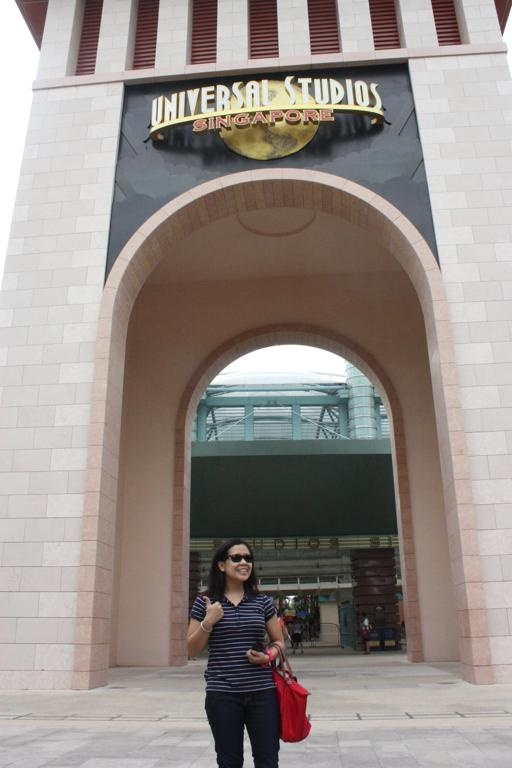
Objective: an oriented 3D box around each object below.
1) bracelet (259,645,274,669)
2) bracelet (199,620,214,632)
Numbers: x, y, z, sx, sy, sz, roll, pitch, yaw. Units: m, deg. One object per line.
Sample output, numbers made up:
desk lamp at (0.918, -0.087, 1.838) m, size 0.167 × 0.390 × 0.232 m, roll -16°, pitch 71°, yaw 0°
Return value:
bracelet at (0.041, 1.074, 2.315) m, size 0.034 × 0.092 × 0.068 m, roll -7°, pitch -5°, yaw 37°
bracelet at (-0.209, 0.963, 2.359) m, size 0.044 × 0.055 × 0.023 m, roll -2°, pitch 7°, yaw -2°
